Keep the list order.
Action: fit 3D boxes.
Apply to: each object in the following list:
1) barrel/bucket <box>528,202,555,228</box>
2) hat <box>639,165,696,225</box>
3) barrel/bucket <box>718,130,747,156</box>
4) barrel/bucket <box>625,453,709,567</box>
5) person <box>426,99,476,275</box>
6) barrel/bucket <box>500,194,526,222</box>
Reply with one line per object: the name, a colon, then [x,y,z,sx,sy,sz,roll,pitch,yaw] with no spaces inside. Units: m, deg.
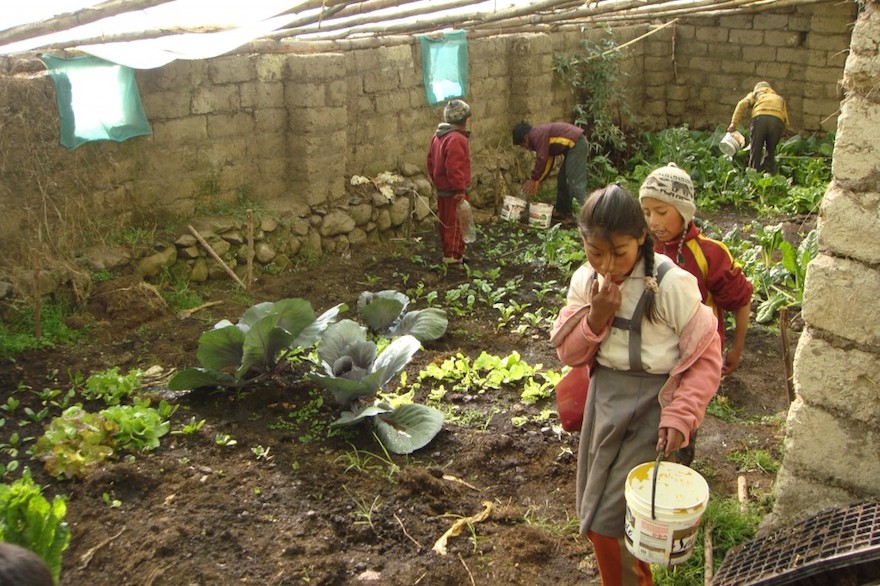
barrel/bucket: [1.290,-0.992,9.165,0.321,0.303,0.325,1,8,0]
hat: [1.343,-0.593,4.287,0.348,0.337,0.264,12,-9,-25]
barrel/bucket: [3.821,-1.916,9.422,0.223,0.361,0.860,3,18,26]
barrel/bucket: [1.114,1.079,3.563,0.375,0.377,0.387,-3,26,1]
person: [0.147,-1.186,7.960,0.500,1.770,0.445,-6,17,0]
barrel/bucket: [0.904,-1.059,9.242,0.330,0.310,0.329,16,16,-4]
